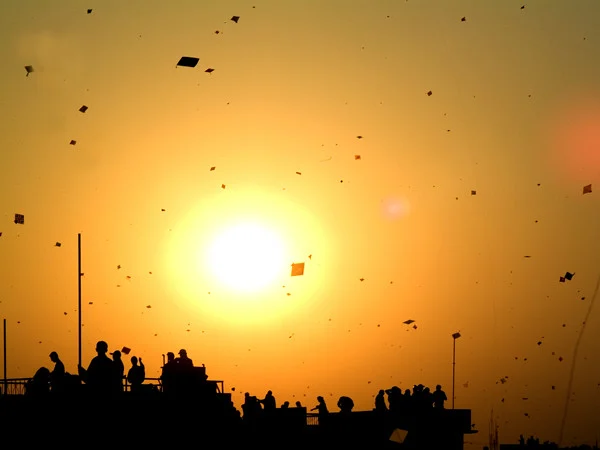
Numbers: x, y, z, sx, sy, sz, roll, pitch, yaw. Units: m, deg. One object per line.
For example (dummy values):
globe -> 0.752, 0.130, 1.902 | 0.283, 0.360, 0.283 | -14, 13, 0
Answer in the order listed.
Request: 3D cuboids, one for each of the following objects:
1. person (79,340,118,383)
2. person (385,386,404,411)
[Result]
person -> -4.026, 2.913, 20.439 | 0.568, 0.568, 0.722 | 6, -46, -7
person -> 2.258, 4.169, 23.989 | 0.357, 0.847, 0.636 | -5, -46, 5
